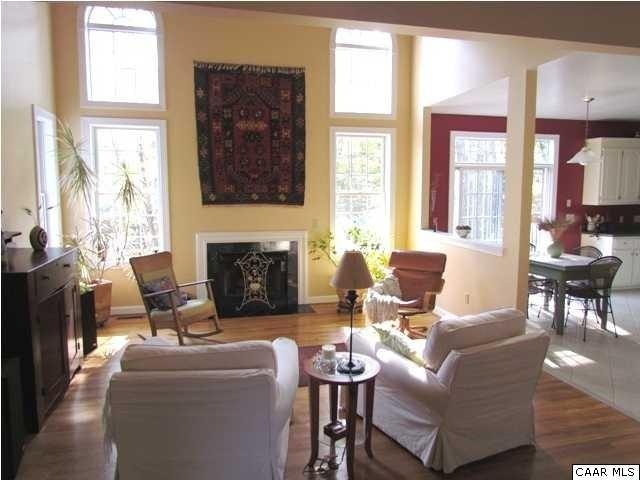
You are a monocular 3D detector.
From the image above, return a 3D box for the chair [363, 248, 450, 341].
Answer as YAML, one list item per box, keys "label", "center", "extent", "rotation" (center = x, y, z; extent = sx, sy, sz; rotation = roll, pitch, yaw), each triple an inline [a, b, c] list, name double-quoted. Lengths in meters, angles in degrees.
- label: "chair"
  center: [1.003, 0.588, 5.918]
  extent: [0.888, 1.167, 1.132]
  rotation: [1, 5, 33]

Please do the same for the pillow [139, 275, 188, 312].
- label: "pillow"
  center: [-1.809, 0.618, 5.620]
  extent: [0.370, 0.414, 0.124]
  rotation: [-15, -19, -45]

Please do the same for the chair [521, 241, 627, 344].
- label: "chair"
  center: [3.236, 0.573, 6.556]
  extent: [0.817, 0.922, 1.349]
  rotation: [-1, 6, 1]

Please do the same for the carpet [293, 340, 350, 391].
- label: "carpet"
  center: [0.013, 1.091, 4.228]
  extent: [0.533, 0.127, 0.533]
  rotation: [0, 6, -3]

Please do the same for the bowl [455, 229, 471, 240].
- label: "bowl"
  center: [1.927, -0.081, 6.603]
  extent: [0.171, 0.118, 0.217]
  rotation: [-2, 6, 9]

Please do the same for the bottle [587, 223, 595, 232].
- label: "bottle"
  center: [4.701, -0.206, 8.524]
  extent: [0.116, 0.129, 0.117]
  rotation: [1, 0, 0]

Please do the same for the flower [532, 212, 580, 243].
- label: "flower"
  center: [3.395, -0.203, 7.166]
  extent: [0.772, 0.403, 0.765]
  rotation: [-2, -2, -2]
